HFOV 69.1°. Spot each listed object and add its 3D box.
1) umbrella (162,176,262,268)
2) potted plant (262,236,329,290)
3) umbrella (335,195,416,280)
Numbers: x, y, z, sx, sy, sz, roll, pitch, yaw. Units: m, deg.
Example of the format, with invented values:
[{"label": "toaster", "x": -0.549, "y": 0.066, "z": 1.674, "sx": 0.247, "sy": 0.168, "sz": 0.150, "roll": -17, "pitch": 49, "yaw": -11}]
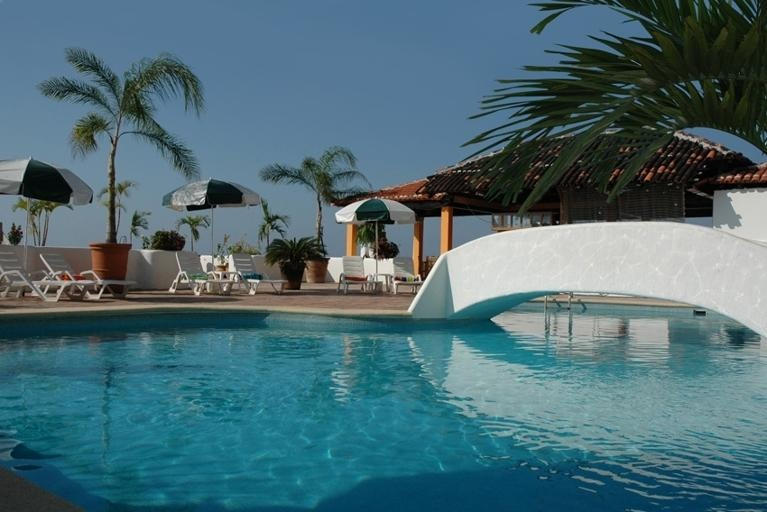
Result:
[{"label": "umbrella", "x": -4.416, "y": -1.053, "z": 14.497, "sx": 2.322, "sy": 1.553, "sz": 2.111, "roll": -5, "pitch": -1, "yaw": 2}, {"label": "potted plant", "x": -2.475, "y": 0.110, "z": 15.770, "sx": 1.670, "sy": 1.221, "sz": 1.667, "roll": 9, "pitch": 13, "yaw": 31}, {"label": "umbrella", "x": -0.179, "y": -0.423, "z": 15.005, "sx": 2.250, "sy": 1.893, "sz": 1.983, "roll": -2, "pitch": -11, "yaw": 7}]
